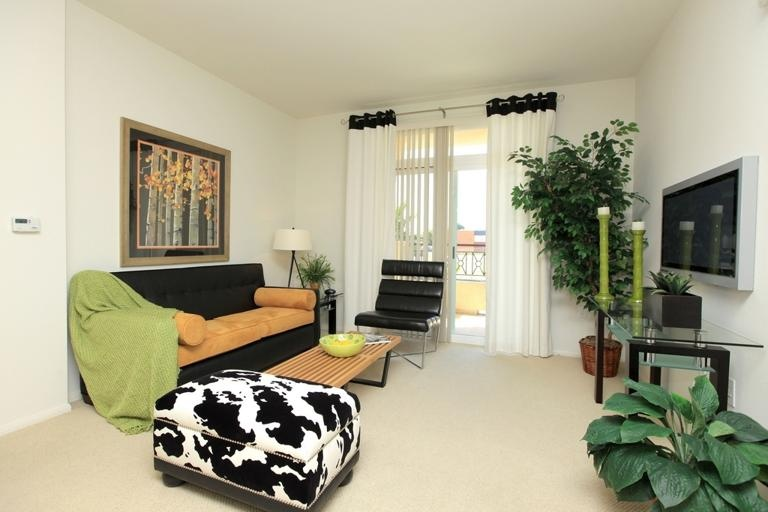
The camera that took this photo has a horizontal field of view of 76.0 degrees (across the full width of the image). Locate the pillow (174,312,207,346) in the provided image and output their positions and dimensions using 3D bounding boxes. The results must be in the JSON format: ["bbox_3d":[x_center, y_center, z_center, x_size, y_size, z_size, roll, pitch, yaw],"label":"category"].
[{"bbox_3d":[-1.664,0.635,4.234,0.307,0.266,0.258,1,5,36],"label":"pillow"}]

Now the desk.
[{"bbox_3d":[2.394,0.891,4.261,0.993,0.971,1.829,1,3,17],"label":"desk"}]

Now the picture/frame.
[{"bbox_3d":[-2.198,-0.590,5.296,0.061,1.427,1.485,2,0,27],"label":"picture/frame"}]

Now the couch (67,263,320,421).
[{"bbox_3d":[-1.802,0.783,5.282,1.251,1.402,2.720,-1,3,21],"label":"couch"}]

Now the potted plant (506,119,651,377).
[{"bbox_3d":[2.087,-0.419,5.298,1.341,2.098,0.983,1,4,16],"label":"potted plant"}]

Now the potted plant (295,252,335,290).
[{"bbox_3d":[-0.926,0.237,6.772,0.450,0.418,0.493,8,6,29],"label":"potted plant"}]

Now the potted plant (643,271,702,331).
[{"bbox_3d":[2.300,0.330,3.888,0.445,0.319,0.245,8,-5,-44],"label":"potted plant"}]

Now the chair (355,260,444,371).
[{"bbox_3d":[0.206,0.632,5.789,0.831,1.153,0.886,3,2,18],"label":"chair"}]
